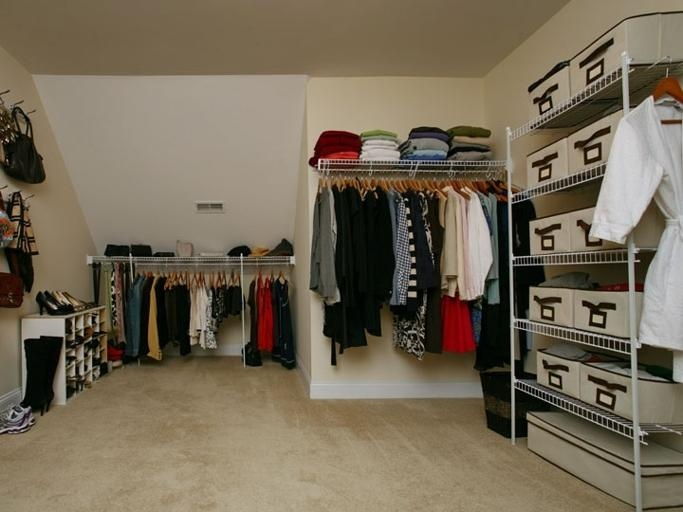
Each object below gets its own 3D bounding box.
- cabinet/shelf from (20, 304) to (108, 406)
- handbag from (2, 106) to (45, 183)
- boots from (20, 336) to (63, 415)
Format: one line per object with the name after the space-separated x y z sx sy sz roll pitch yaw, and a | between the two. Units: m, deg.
-2.444 0.866 4.944 0.200 0.539 0.780 -1 -1 -5 | cabinet/shelf
-2.768 -0.978 4.900 0.192 0.678 0.469 -2 -1 15 | handbag
-2.488 0.954 4.740 0.305 0.559 0.179 -1 -1 -29 | boots
